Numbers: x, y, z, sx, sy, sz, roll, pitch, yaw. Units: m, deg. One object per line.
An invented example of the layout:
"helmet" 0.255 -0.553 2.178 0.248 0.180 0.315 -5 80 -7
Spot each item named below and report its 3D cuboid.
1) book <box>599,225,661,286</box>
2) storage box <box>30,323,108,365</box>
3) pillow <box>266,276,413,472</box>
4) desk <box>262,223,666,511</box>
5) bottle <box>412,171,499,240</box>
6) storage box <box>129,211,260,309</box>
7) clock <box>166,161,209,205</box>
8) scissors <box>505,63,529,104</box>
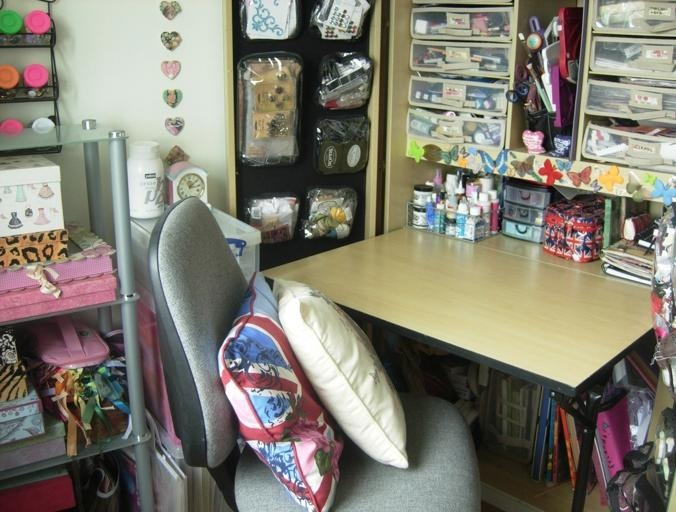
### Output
"book" 1.069 0.008 2.067 0.208 0.082 0.241 21 41 35
"storage box" -0.852 0.268 1.765 0.123 0.042 0.224 -4 26 -38
"pillow" 0.002 0.283 1.647 0.296 0.461 0.594 -4 3 -6
"desk" 0.493 0.188 1.901 0.985 0.680 0.963 28 40 34
"bottle" 0.525 -0.257 2.501 0.290 0.207 0.310 0 25 0
"storage box" -0.470 -0.051 1.863 0.328 0.223 0.330 -21 44 -41
"clock" -0.507 -0.216 1.955 0.114 0.176 0.070 -6 -11 -12
"scissors" 0.683 -0.650 2.157 0.052 0.141 0.087 -4 3 -39
